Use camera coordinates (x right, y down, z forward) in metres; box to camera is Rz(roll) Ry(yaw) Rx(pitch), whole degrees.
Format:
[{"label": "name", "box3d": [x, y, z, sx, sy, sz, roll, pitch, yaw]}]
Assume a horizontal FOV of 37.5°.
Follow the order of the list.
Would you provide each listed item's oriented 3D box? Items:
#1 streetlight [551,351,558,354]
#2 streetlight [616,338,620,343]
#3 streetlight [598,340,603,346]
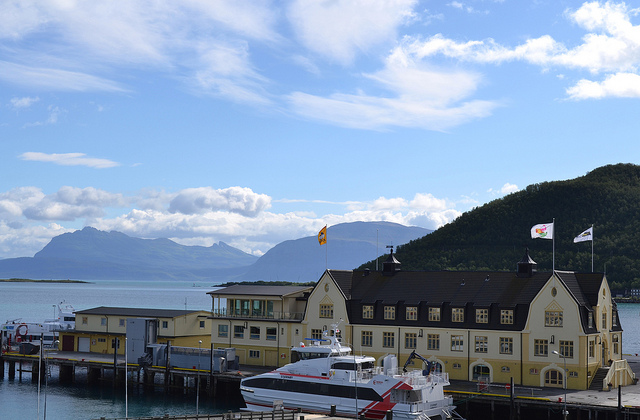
[{"label": "streetlight", "box3d": [34.533, 21.156, 139.567, 0.459, 0.370, 0.925, 8, -13, -35]}, {"label": "streetlight", "box3d": [45.742, 20.233, 145.866, 0.166, 0.682, 0.864, -6, -12, 33]}, {"label": "streetlight", "box3d": [41.905, 20.023, 141.624, 0.221, 0.843, 1.076, -4, -11, 25]}]
